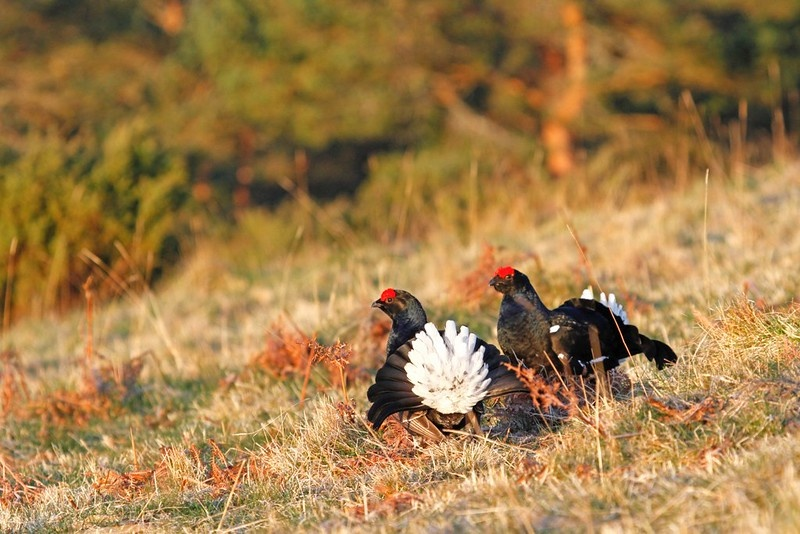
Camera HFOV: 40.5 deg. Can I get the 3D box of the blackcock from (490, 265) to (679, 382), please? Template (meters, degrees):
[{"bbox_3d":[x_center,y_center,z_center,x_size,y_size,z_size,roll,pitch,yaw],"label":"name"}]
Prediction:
[{"bbox_3d":[1.855,0.640,11.256,1.647,1.237,1.026,-2,-18,-7],"label":"blackcock"}]
